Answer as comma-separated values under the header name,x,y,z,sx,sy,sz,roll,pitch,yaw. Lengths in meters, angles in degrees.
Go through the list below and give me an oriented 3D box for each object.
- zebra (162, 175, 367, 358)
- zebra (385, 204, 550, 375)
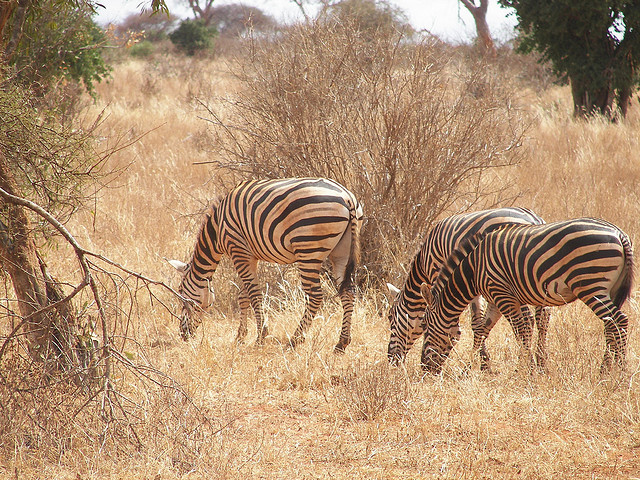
name,x,y,z,sx,sy,sz,roll,pitch,yaw
zebra,-0.655,0.356,9.636,2.133,2.017,0.640,-5,3,22
zebra,1.385,0.435,8.912,0.624,1.412,2.200,10,-25,-31
